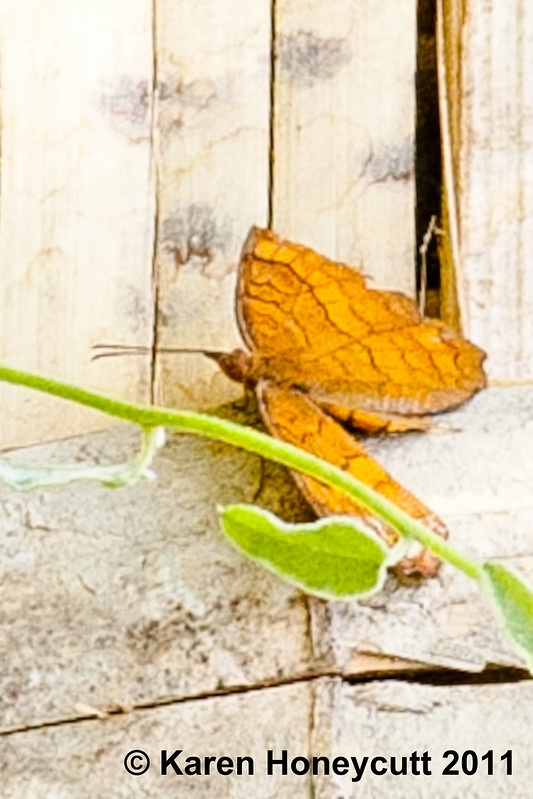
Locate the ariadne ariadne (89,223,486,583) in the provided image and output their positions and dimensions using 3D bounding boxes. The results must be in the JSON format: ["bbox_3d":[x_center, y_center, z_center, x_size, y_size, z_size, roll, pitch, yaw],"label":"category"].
[{"bbox_3d":[0.039,-0.035,1.482,0.247,0.248,0.091,18,0,-6],"label":"ariadne ariadne"}]
